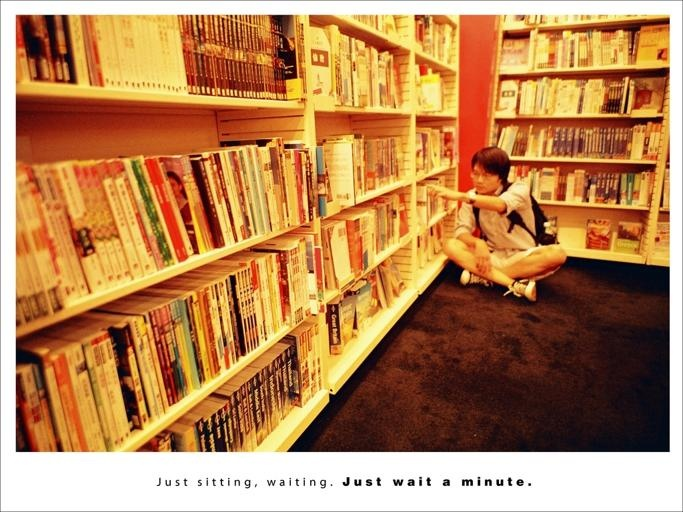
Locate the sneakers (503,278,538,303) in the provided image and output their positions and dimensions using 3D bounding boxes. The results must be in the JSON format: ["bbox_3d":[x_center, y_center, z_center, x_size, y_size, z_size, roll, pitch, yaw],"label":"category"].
[{"bbox_3d":[1.247,0.227,3.474,0.114,0.100,0.268,6,-3,-3],"label":"sneakers"}]

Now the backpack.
[{"bbox_3d":[1.282,-0.369,3.737,0.432,0.279,0.424,9,24,5],"label":"backpack"}]

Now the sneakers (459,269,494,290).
[{"bbox_3d":[1.001,0.170,3.803,0.271,0.093,0.115,13,35,-8],"label":"sneakers"}]

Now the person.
[{"bbox_3d":[1.173,-0.257,3.598,0.962,1.044,0.802,-14,16,-36],"label":"person"}]
